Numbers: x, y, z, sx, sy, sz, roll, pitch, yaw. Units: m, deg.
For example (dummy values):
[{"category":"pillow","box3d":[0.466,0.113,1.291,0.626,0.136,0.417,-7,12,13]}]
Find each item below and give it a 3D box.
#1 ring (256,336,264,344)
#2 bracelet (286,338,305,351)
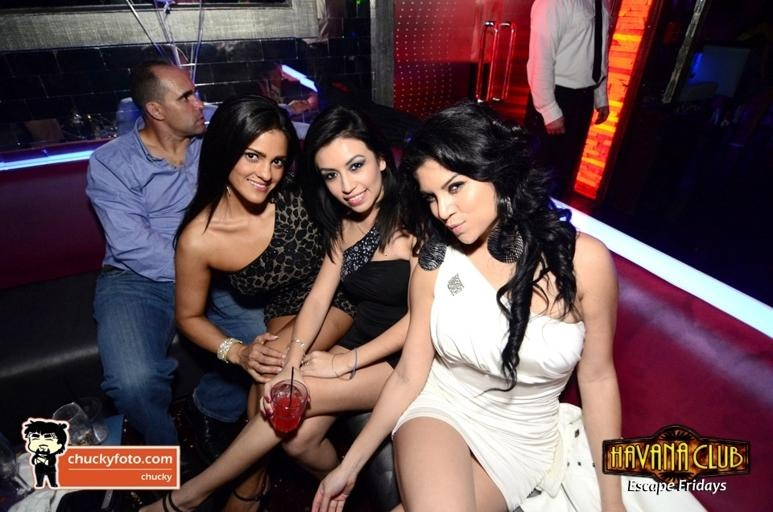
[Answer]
[{"category":"ring","box3d":[-0.700,0.466,2.659,0.028,0.013,0.036,-4,23,-33]},{"category":"bracelet","box3d":[-0.481,0.470,2.574,0.065,0.048,0.059,3,2,39]}]
